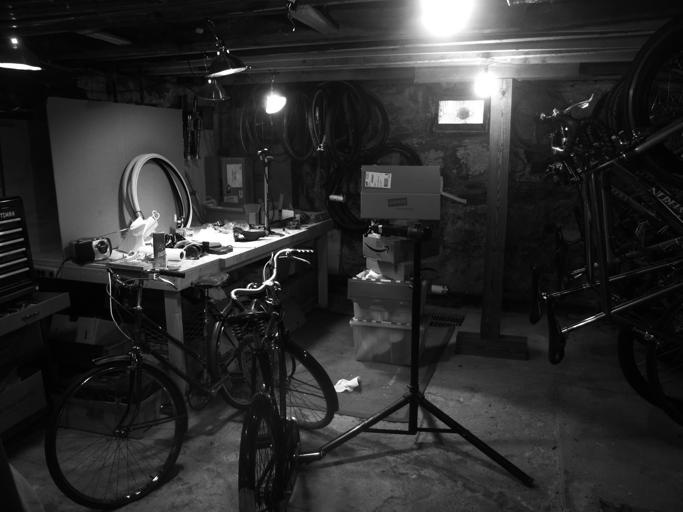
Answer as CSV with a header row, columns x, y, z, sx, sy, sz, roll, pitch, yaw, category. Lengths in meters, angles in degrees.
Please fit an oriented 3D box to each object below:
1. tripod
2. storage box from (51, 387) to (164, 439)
x,y,z,sx,sy,sz,roll,pitch,yaw,category
0.636,0.501,4.577,1.532,2.086,1.720,1,3,-5,tripod
-1.618,1.085,3.806,0.444,0.141,0.443,4,10,8,storage box
